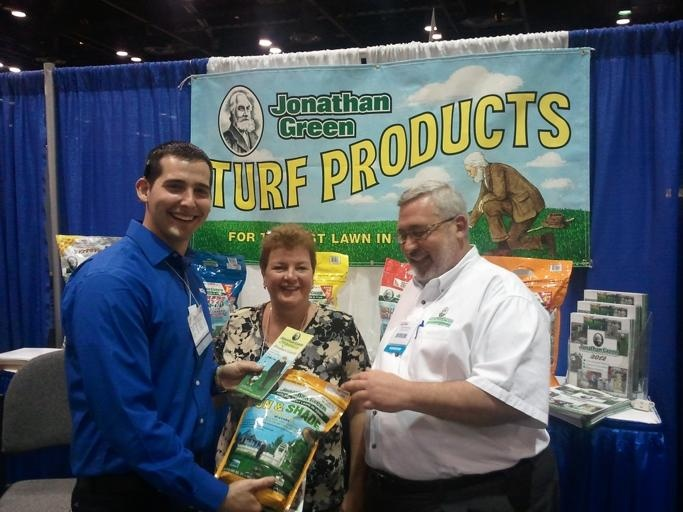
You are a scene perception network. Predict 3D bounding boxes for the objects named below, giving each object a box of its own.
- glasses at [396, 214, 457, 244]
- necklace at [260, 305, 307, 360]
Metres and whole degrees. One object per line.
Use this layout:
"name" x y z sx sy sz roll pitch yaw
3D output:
"glasses" 0.405 -0.124 2.849 0.164 0.048 0.163 -30 4 -29
"necklace" -0.310 0.380 2.935 0.182 0.275 0.096 5 -6 2
